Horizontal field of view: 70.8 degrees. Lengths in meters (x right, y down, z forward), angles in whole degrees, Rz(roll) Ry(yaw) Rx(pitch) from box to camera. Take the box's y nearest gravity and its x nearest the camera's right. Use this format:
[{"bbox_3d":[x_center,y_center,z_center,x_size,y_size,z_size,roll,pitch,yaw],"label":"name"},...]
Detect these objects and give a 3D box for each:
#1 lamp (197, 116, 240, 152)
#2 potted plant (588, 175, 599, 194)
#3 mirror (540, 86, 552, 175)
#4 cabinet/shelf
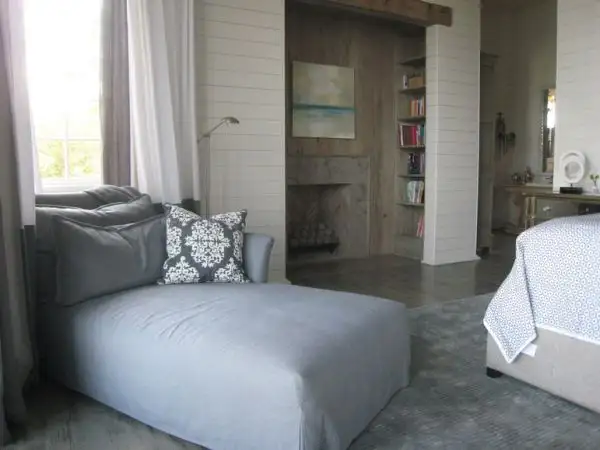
[{"bbox_3d":[-0.751,-0.898,3.965,0.397,0.268,0.380,-2,9,-8],"label":"lamp"},{"bbox_3d":[3.726,-0.537,5.375,0.126,0.247,0.071,6,12,37],"label":"potted plant"},{"bbox_3d":[4.673,-1.708,7.991,0.363,1.599,0.070,-10,12,-26],"label":"mirror"},{"bbox_3d":[1.546,-1.341,5.816,0.476,2.575,0.255,2,3,36],"label":"cabinet/shelf"}]
